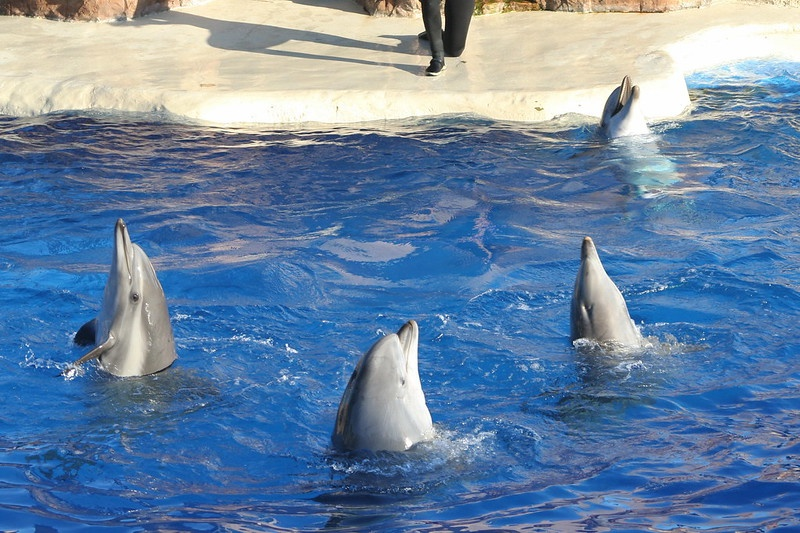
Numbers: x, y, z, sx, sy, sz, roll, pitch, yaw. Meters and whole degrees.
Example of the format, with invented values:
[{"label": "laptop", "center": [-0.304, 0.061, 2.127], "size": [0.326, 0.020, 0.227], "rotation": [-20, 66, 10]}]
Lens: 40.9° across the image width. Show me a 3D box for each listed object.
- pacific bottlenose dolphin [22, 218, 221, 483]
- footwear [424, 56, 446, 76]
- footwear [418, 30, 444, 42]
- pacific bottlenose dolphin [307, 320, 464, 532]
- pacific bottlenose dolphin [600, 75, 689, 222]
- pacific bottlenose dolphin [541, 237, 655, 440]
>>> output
[{"label": "pacific bottlenose dolphin", "center": [-1.687, 0.274, 7.341], "size": [1.177, 0.968, 0.769], "rotation": [-18, 26, -39]}, {"label": "footwear", "center": [0.370, -2.209, 11.906], "size": [0.192, 0.191, 0.283], "rotation": [3, 18, 13]}, {"label": "footwear", "center": [0.324, -2.815, 13.103], "size": [0.254, 0.138, 0.162], "rotation": [7, 10, 17]}, {"label": "pacific bottlenose dolphin", "center": [-0.181, 0.967, 6.618], "size": [0.622, 1.257, 0.549], "rotation": [29, -7, -42]}, {"label": "pacific bottlenose dolphin", "center": [2.248, -1.127, 10.320], "size": [0.893, 0.760, 1.417], "rotation": [-3, 51, 12]}, {"label": "pacific bottlenose dolphin", "center": [1.332, 0.394, 7.095], "size": [0.622, 1.124, 0.853], "rotation": [2, 21, 11]}]
